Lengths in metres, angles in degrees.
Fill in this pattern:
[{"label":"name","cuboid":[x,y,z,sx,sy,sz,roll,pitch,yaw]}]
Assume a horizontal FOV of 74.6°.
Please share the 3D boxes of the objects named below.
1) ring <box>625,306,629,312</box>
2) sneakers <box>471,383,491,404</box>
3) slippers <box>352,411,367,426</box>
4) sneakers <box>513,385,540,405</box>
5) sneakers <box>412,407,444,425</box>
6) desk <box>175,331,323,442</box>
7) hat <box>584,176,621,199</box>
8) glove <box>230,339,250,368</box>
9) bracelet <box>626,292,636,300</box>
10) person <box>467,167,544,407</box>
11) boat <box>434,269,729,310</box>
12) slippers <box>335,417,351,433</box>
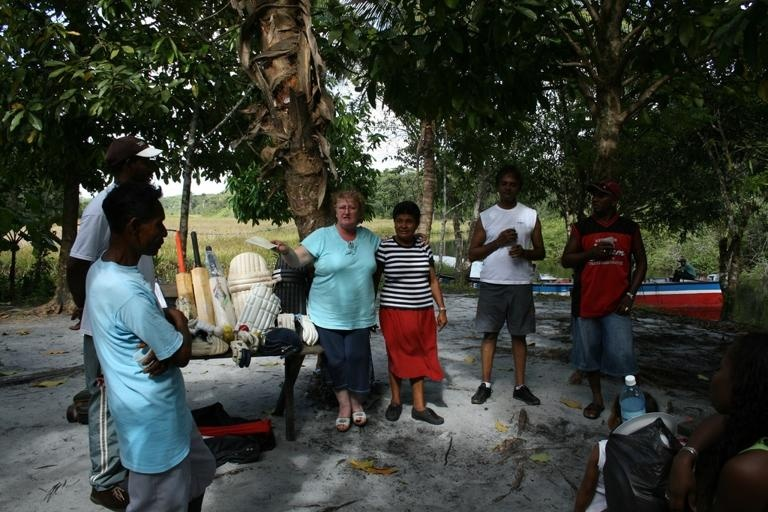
[{"label":"ring","cuboid":[2.661,0.573,5.446,0.040,0.043,0.014,-6,4,-18]},{"label":"sneakers","cuboid":[1.204,1.606,5.971,0.345,0.193,0.156,-6,10,-34]},{"label":"slippers","cuboid":[-0.249,1.742,5.421,0.138,0.139,0.094,-1,8,-6]},{"label":"sneakers","cuboid":[1.720,1.626,5.960,0.145,0.148,0.310,-2,1,-40]},{"label":"sneakers","cuboid":[0.497,1.740,5.546,0.354,0.159,0.139,1,-1,21]},{"label":"desk","cuboid":[-1.024,1.345,5.477,1.067,0.758,1.134,1,1,-6]},{"label":"hat","cuboid":[2.516,-0.789,5.642,0.364,0.217,0.253,16,-1,-9]},{"label":"glove","cuboid":[-1.309,0.886,4.563,0.103,0.229,0.186,-32,-20,17]},{"label":"bracelet","cuboid":[2.703,0.424,5.454,0.098,0.064,0.088,41,-21,-17]},{"label":"person","cuboid":[1.473,0.321,6.001,0.876,2.729,0.761,1,9,11]},{"label":"boat","cuboid":[5.017,0.816,11.714,6.426,1.073,1.363,0,-2,9]},{"label":"slippers","cuboid":[-0.419,1.771,5.344,0.162,0.116,0.123,-1,8,-4]}]
